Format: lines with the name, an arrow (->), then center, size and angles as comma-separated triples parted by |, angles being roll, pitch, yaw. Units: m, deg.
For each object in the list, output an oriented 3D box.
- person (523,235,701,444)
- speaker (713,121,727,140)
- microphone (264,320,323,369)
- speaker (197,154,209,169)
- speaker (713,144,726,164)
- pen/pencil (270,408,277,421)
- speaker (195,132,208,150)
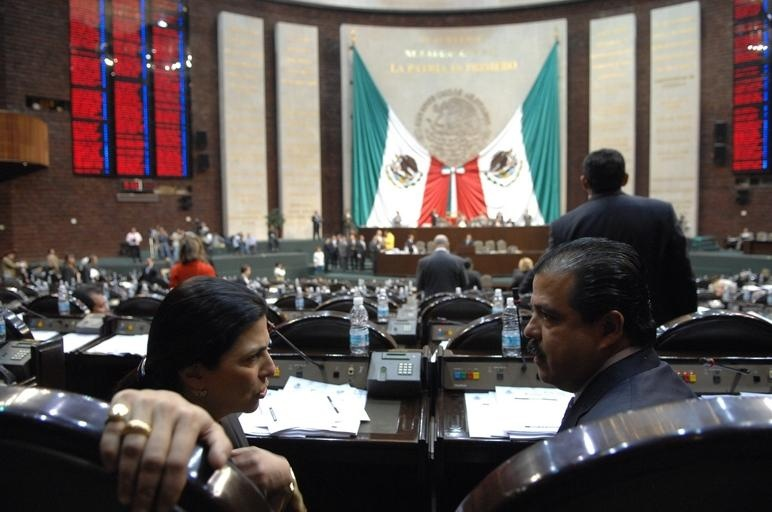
person -> 1.237, 0.255, 3.548 | 0.744, 1.635, 0.537 | -6, 11, -5
speaker -> 8.502, -3.195, 16.530 | 0.396, 0.535, 0.293 | 8, 16, 39
microphone -> -0.458, 0.409, 3.009 | 0.295, 0.298, 0.091 | 7, 26, 41
speaker -> -4.857, -2.494, 17.321 | 0.342, 0.363, 0.364 | -5, 1, -28
speaker -> 8.556, -2.586, 16.646 | 0.325, 0.554, 0.166 | 4, 11, 27
pen/pencil -> -0.488, 0.682, 2.825 | 0.020, 0.067, 0.010 | -11, 9, -9
speaker -> -4.900, -3.074, 17.268 | 0.237, 0.461, 0.465 | 1, 7, 10
